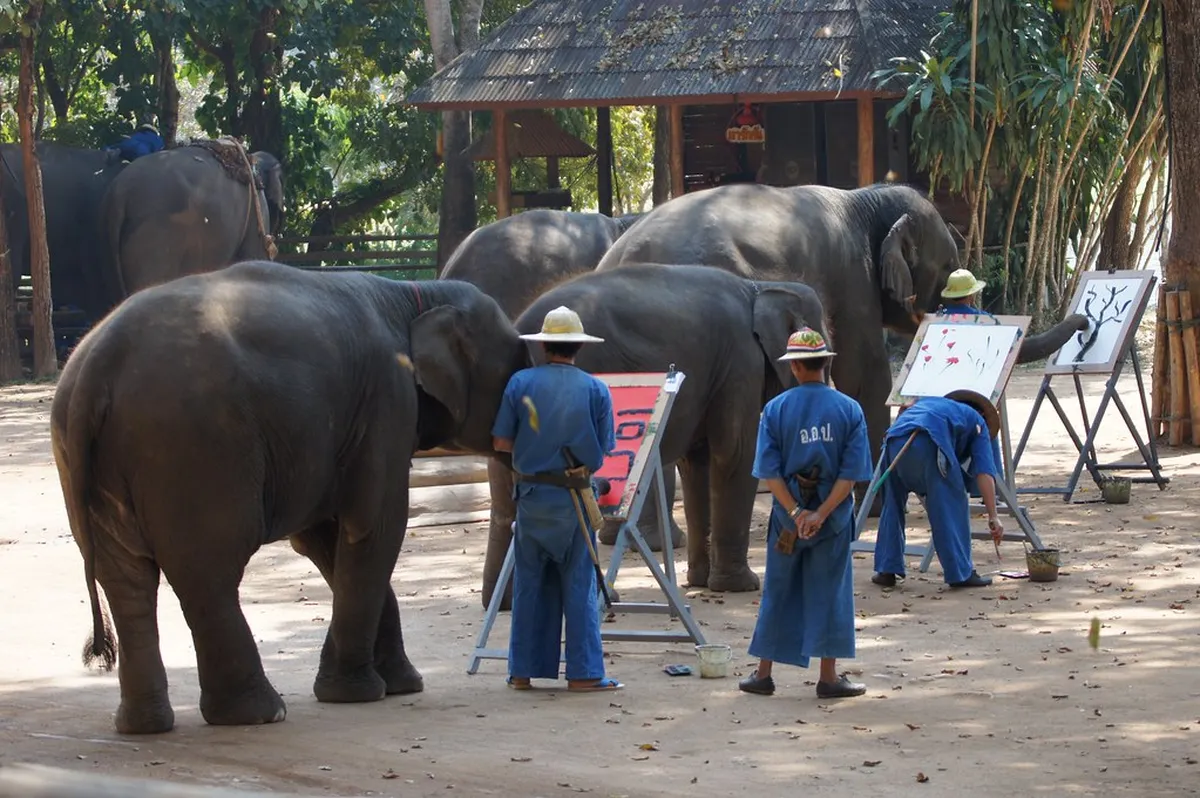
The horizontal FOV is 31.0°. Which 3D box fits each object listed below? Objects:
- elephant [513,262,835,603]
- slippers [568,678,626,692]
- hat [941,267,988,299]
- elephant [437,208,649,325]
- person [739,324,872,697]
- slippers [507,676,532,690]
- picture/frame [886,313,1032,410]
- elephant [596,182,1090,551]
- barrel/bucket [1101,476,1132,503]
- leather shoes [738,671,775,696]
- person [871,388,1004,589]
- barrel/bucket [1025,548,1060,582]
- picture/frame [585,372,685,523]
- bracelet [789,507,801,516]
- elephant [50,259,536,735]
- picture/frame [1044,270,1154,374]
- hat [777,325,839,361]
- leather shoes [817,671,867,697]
[{"bbox_3d":[0.915,0.285,19.628,3.646,2.800,1.635,0,2,-30],"label":"elephant"},{"bbox_3d":[-0.043,2.266,17.236,0.392,0.112,0.145,-2,2,-5],"label":"slippers"},{"bbox_3d":[3.418,-1.137,20.846,0.357,0.306,0.738,2,15,10],"label":"hat"},{"bbox_3d":[-0.545,-1.398,21.947,0.920,1.098,2.024,10,18,41],"label":"elephant"},{"bbox_3d":[1.621,1.000,17.086,0.891,2.573,0.795,1,15,7],"label":"person"},{"bbox_3d":[-0.618,2.258,17.256,0.068,0.088,0.206,4,-8,-22],"label":"slippers"},{"bbox_3d":[3.264,-0.370,20.156,1.080,1.254,0.079,0,48,-8],"label":"picture/frame"},{"bbox_3d":[2.268,-0.521,21.904,5.641,3.264,2.266,-3,10,-26],"label":"elephant"},{"bbox_3d":[4.962,0.884,21.212,0.215,0.184,0.237,-1,-4,45],"label":"barrel/bucket"},{"bbox_3d":[1.215,2.240,17.145,0.263,0.127,0.128,6,7,24],"label":"leather shoes"},{"bbox_3d":[2.916,0.804,19.143,1.081,1.632,0.750,1,15,8],"label":"person"},{"bbox_3d":[3.814,1.446,18.987,0.256,0.225,0.273,0,-5,0],"label":"barrel/bucket"},{"bbox_3d":[0.247,0.340,17.876,1.061,1.116,0.595,4,-17,15],"label":"picture/frame"},{"bbox_3d":[1.504,0.877,17.044,0.048,0.087,0.040,40,0,-14],"label":"bracelet"},{"bbox_3d":[-2.138,0.751,17.815,4.490,3.503,2.074,-6,6,-40],"label":"elephant"},{"bbox_3d":[4.914,-0.822,21.776,0.863,0.740,1.083,8,-28,-18],"label":"picture/frame"},{"bbox_3d":[1.683,-0.482,18.182,0.427,0.202,0.439,-1,-1,-4],"label":"hat"},{"bbox_3d":[1.854,2.230,16.990,0.334,0.157,0.155,-2,0,-2],"label":"leather shoes"}]
